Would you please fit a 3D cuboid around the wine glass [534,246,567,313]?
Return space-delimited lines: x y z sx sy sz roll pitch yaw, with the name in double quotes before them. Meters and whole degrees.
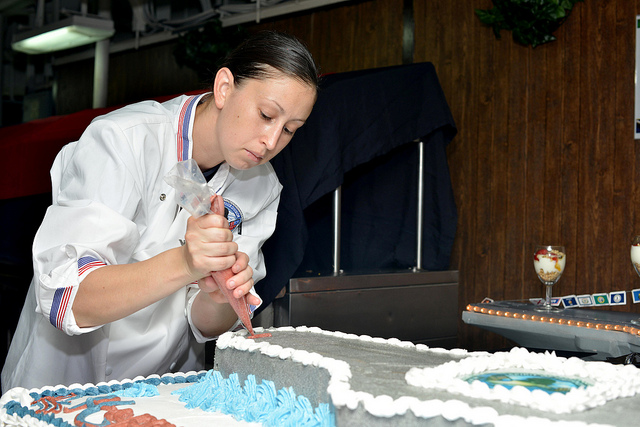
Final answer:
"wine glass" 1.078 0.300 2.969 0.138 0.279 0.395 3 10 21
